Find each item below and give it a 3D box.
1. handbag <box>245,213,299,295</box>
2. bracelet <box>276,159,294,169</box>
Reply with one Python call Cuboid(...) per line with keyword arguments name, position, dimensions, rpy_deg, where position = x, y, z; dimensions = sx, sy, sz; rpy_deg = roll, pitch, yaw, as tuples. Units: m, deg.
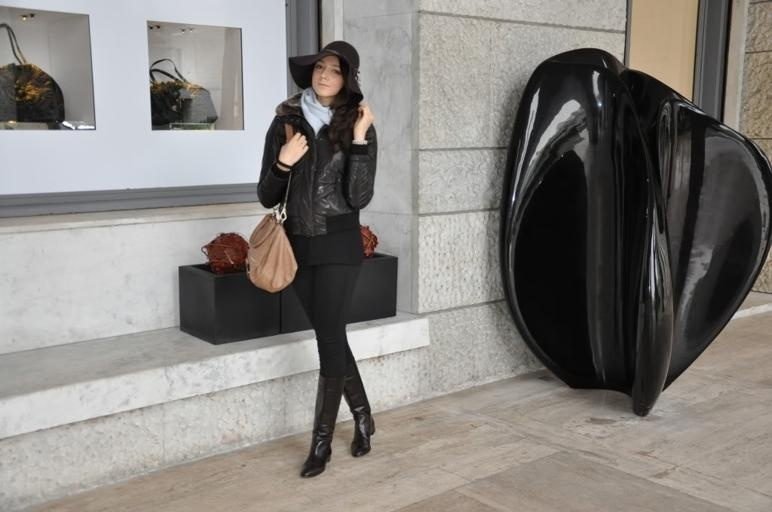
Cuboid(name="handbag", position=(-0.575, 0.001, 2.946), dimensions=(0.235, 0.464, 0.457), rpy_deg=(0, 4, -29))
Cuboid(name="bracelet", position=(-0.505, -0.453, 2.848), dimensions=(0.076, 0.051, 0.029), rpy_deg=(2, 12, 9))
